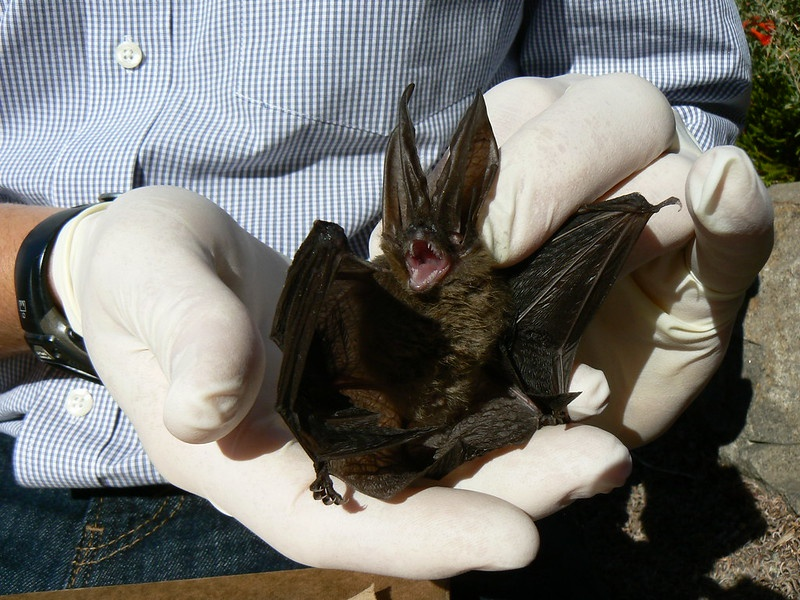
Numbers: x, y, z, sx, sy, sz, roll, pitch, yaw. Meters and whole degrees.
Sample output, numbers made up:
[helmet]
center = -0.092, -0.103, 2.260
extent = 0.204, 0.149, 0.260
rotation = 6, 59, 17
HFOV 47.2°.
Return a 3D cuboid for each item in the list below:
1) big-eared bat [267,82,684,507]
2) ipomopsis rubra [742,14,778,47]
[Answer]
[big-eared bat]
center = 0.037, -0.232, 3.421
extent = 1.545, 1.148, 1.419
rotation = -2, 50, -21
[ipomopsis rubra]
center = 1.531, -1.149, 3.898
extent = 0.101, 0.129, 0.060
rotation = -6, 9, -20
